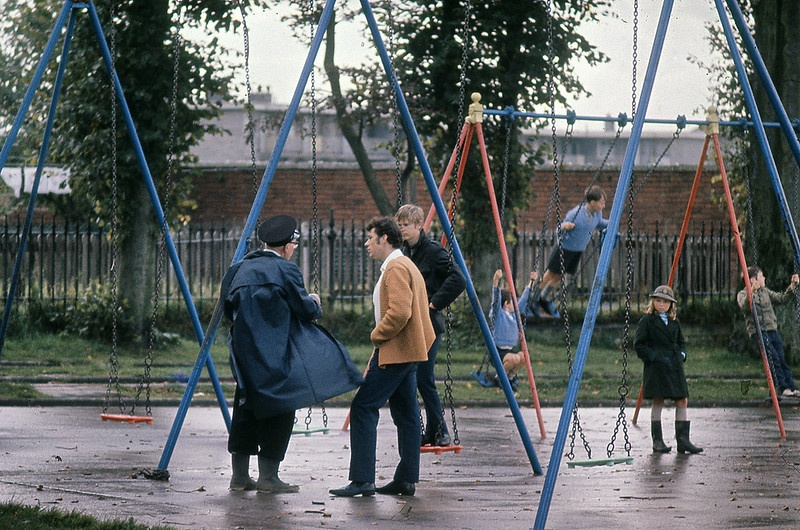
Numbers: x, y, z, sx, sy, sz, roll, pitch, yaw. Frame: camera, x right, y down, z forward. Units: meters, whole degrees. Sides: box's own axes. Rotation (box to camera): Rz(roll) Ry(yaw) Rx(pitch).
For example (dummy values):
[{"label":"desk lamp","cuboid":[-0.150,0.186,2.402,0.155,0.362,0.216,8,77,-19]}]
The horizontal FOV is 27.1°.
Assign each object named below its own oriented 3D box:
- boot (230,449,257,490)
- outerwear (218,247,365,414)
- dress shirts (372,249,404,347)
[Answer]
[{"label":"boot","cuboid":[-2.305,3.138,24.973,0.531,0.572,0.258,16,-24,-33]},{"label":"outerwear","cuboid":[-1.777,1.137,26.930,2.039,2.595,1.544,-16,0,27]},{"label":"dress shirts","cuboid":[-0.274,0.427,25.726,0.770,1.768,1.222,1,1,0]}]
